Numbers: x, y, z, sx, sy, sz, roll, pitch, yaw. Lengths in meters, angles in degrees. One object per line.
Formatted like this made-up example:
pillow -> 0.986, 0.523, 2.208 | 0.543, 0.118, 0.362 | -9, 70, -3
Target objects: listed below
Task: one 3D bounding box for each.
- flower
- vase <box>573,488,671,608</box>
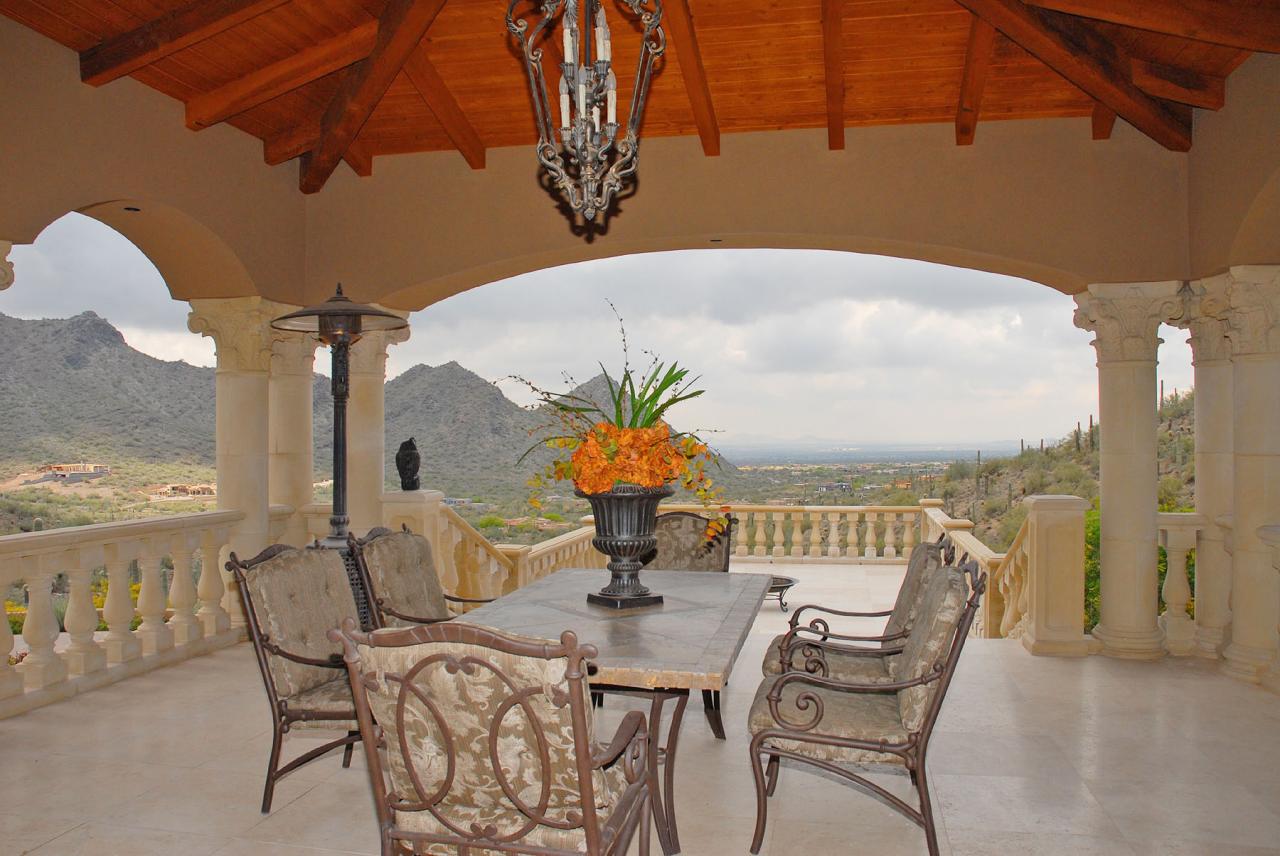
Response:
flower -> -0.134, 0.060, 7.323 | 1.070, 1.596, 1.499 | 0, -2, -9
vase -> -0.106, 0.799, 6.965 | 0.631, 0.816, 0.664 | -2, -3, 35
